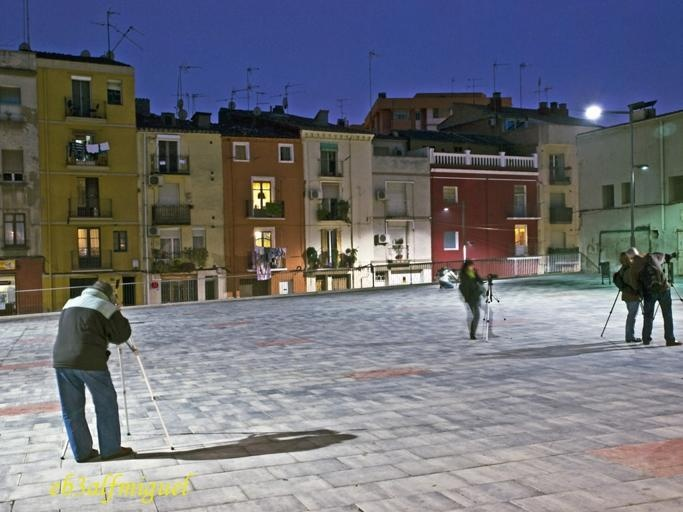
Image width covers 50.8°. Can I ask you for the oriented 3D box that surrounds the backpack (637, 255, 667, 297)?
[{"bbox_3d":[6.967,0.413,15.905,0.671,0.969,0.476,-2,1,-38],"label":"backpack"}]

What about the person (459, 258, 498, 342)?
[{"bbox_3d":[3.555,1.032,18.349,0.826,2.139,0.724,-7,20,5],"label":"person"}]

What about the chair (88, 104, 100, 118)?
[{"bbox_3d":[-14.126,-8.333,41.038,1.056,0.713,0.324,-2,1,-21],"label":"chair"}]

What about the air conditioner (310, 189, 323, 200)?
[{"bbox_3d":[-1.566,-3.948,46.122,1.046,0.948,0.557,0,-2,-40],"label":"air conditioner"}]

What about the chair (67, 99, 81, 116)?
[{"bbox_3d":[-15.017,-8.321,40.422,0.542,0.770,1.017,-4,-2,32],"label":"chair"}]

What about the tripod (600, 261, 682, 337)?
[{"bbox_3d":[8.034,1.198,19.227,1.573,2.322,1.627,0,-7,-3],"label":"tripod"}]

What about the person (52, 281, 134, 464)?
[{"bbox_3d":[-3.358,1.524,9.741,1.001,2.172,0.566,-2,1,-19],"label":"person"}]

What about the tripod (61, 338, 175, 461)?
[{"bbox_3d":[-3.348,2.179,10.779,1.338,2.991,1.016,0,-11,-17],"label":"tripod"}]

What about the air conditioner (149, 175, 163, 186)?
[{"bbox_3d":[-10.800,-4.423,41.824,0.523,0.477,0.787,-1,1,12],"label":"air conditioner"}]

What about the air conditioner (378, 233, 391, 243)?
[{"bbox_3d":[2.938,-1.171,48.042,0.862,0.667,0.463,4,-5,-43],"label":"air conditioner"}]

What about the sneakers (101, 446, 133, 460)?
[{"bbox_3d":[-3.026,2.618,9.742,0.410,0.183,0.139,-5,7,-31],"label":"sneakers"}]
